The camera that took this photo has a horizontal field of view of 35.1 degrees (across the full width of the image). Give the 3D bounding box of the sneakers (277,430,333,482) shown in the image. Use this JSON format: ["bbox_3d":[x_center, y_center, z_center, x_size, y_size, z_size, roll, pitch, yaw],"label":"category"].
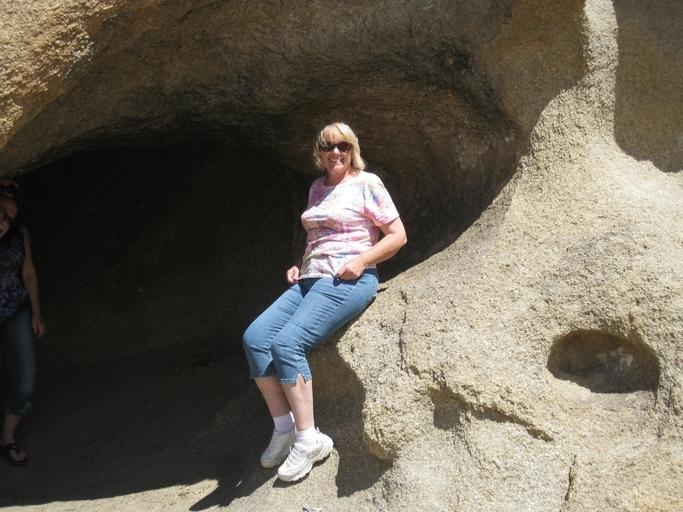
[{"bbox_3d":[-0.164,0.907,4.856,0.220,0.107,0.093,-47,56,-9],"label":"sneakers"}]
